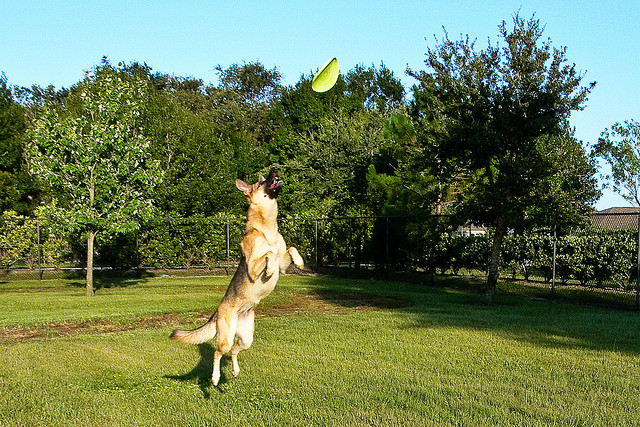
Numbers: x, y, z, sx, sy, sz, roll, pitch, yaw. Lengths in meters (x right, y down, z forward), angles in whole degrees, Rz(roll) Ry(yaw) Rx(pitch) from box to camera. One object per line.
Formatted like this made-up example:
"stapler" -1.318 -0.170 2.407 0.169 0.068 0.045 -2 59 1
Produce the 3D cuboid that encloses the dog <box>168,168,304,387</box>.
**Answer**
"dog" -1.528 1.418 11.558 2.196 4.723 1.437 -2 8 -16
